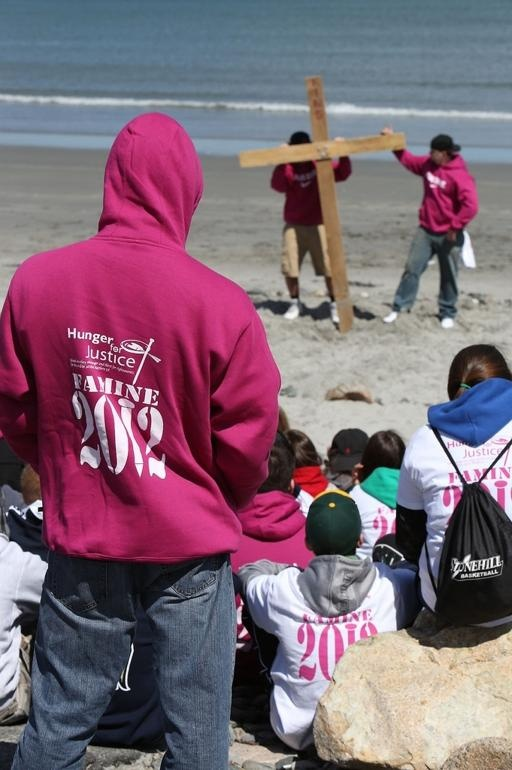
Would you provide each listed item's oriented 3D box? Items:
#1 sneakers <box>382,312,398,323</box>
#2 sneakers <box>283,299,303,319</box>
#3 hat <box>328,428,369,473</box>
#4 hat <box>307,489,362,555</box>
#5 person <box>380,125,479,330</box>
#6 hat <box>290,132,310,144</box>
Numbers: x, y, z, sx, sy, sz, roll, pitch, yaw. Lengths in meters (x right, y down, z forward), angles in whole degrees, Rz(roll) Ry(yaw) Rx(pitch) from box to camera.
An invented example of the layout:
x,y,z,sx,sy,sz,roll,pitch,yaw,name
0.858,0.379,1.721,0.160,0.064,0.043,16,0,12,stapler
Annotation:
x,y,z,sx,sy,sz,roll,pitch,yaw,name
1.206,-0.618,8.952,0.071,0.071,0.195,16,10,13,sneakers
0.381,-0.694,9.005,0.096,0.174,0.264,13,27,23,sneakers
0.488,0.345,5.255,0.188,0.128,0.242,-1,25,16,hat
0.257,0.424,3.327,0.190,0.131,0.232,-3,40,3,hat
1.439,-1.311,8.421,0.698,1.740,0.974,-6,15,-4,person
0.362,-2.125,8.478,0.168,0.110,0.220,9,21,25,hat
